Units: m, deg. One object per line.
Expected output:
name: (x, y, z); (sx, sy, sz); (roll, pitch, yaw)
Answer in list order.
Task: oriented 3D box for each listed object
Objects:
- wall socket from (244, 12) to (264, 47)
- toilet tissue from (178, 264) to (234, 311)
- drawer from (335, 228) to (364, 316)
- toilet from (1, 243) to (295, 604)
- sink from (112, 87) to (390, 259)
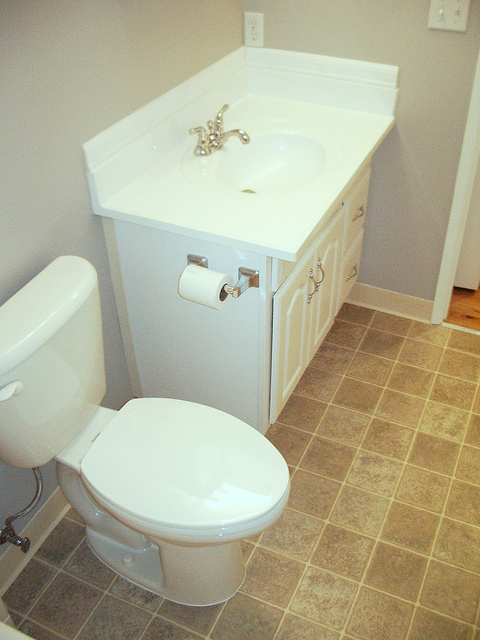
wall socket: (0.046, -0.977, 1.843); (0.082, 0.135, 0.015); (9, 49, 12)
toilet tissue: (-0.084, -0.089, 1.302); (0.110, 0.100, 0.098); (12, 22, -3)
drawer: (0.403, -0.185, 2.034); (0.141, 0.210, 0.228); (14, 59, 18)
toilet: (-0.226, 0.257, 1.306); (0.559, 0.700, 0.382); (24, 47, 18)
sink: (0.077, -0.475, 1.585); (0.520, 0.230, 0.911); (15, 40, 20)
